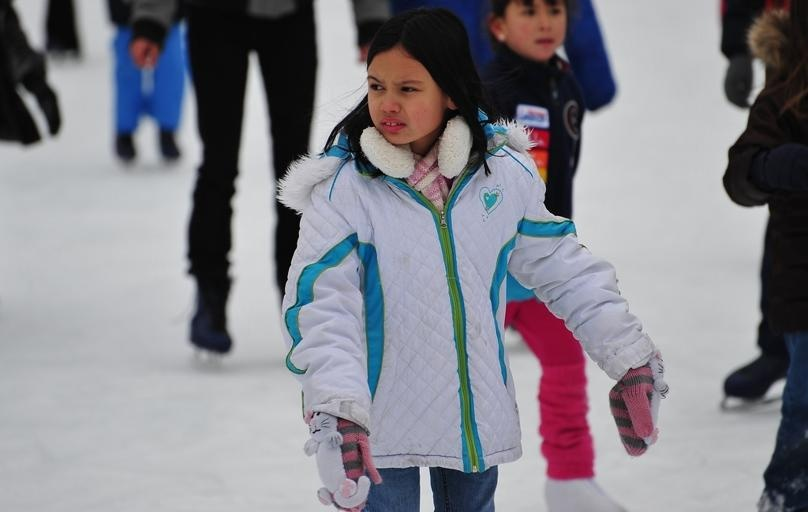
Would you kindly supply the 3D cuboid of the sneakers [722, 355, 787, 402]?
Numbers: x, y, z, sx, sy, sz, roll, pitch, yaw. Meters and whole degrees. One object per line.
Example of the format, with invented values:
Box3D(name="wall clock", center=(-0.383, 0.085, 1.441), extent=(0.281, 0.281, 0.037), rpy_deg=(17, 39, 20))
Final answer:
Box3D(name="sneakers", center=(1.781, 0.631, 7.788), extent=(0.390, 0.147, 0.159), rpy_deg=(-31, -36, 22))
